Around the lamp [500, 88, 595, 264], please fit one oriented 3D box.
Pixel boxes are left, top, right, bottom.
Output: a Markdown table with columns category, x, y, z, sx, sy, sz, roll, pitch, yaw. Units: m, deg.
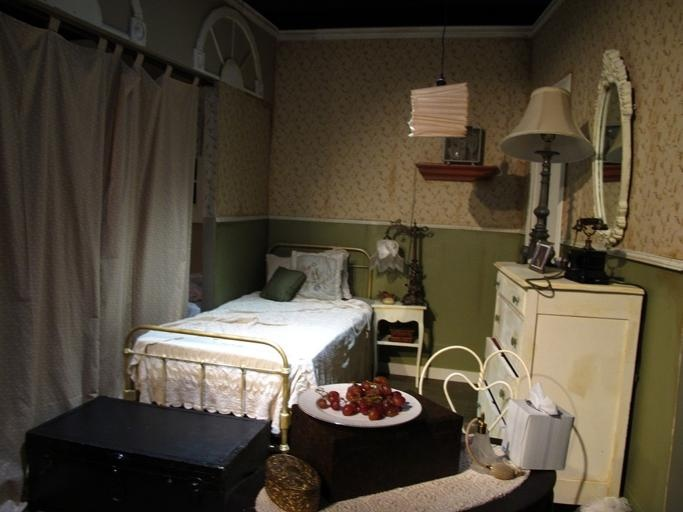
| category | x | y | z | sx | sy | sz | roll | pitch | yaw |
| --- | --- | --- | --- | --- | --- | --- | --- | --- | --- |
| lamp | 1.269 | -0.475 | 3.495 | 0.502 | 1.131 | 0.514 | 4 | -7 | 21 |

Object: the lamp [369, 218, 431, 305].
| category | x | y | z | sx | sy | sz | roll | pitch | yaw |
| --- | --- | --- | --- | --- | --- | --- | --- | --- | --- |
| lamp | 0.605 | 0.079 | 5.355 | 0.514 | 0.824 | 0.330 | 4 | 6 | 12 |

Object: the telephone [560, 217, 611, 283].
| category | x | y | z | sx | sy | sz | roll | pitch | yaw |
| --- | --- | --- | --- | --- | --- | --- | --- | --- | --- |
| telephone | 1.418 | -0.040 | 3.207 | 0.220 | 0.356 | 0.248 | 2 | 6 | 14 |

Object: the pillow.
| category | x | y | z | sx | sy | sz | roll | pitch | yaw |
| --- | --- | --- | --- | --- | --- | --- | --- | --- | --- |
| pillow | -0.350 | 0.170 | 5.247 | 0.600 | 0.562 | 0.184 | -2 | -12 | 15 |

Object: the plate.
| category | x | y | z | sx | sy | sz | roll | pitch | yaw |
| --- | --- | --- | --- | --- | --- | --- | --- | --- | --- |
| plate | 0.075 | 0.634 | 2.325 | 0.518 | 0.068 | 0.311 | 4 | 5 | 9 |

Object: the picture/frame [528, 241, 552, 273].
| category | x | y | z | sx | sy | sz | roll | pitch | yaw |
| --- | --- | --- | --- | --- | --- | --- | --- | --- | --- |
| picture/frame | 1.270 | 0.014 | 3.541 | 0.097 | 0.185 | 0.168 | 18 | 7 | 4 |

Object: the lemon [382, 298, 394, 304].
| category | x | y | z | sx | sy | sz | roll | pitch | yaw |
| --- | --- | --- | --- | --- | --- | --- | --- | --- | --- |
| lemon | 0.449 | 0.432 | 5.269 | 0.057 | 0.020 | 0.062 | 0 | 3 | 2 |

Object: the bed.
| category | x | y | z | sx | sy | sz | roll | pitch | yaw |
| --- | --- | --- | --- | --- | --- | --- | --- | --- | --- |
| bed | -0.548 | 0.635 | 4.035 | 1.283 | 0.917 | 1.768 | 3 | 4 | 14 |

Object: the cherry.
| category | x | y | z | sx | sy | sz | roll | pitch | yaw |
| --- | --- | --- | --- | --- | --- | --- | --- | --- | --- |
| cherry | 0.115 | 0.563 | 2.409 | 0.348 | 0.134 | 0.441 | 3 | 3 | -44 |

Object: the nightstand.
| category | x | y | z | sx | sy | sz | roll | pitch | yaw |
| --- | --- | --- | --- | --- | --- | --- | --- | --- | --- |
| nightstand | 0.584 | 0.804 | 5.370 | 0.533 | 0.806 | 0.470 | 4 | 3 | 12 |
